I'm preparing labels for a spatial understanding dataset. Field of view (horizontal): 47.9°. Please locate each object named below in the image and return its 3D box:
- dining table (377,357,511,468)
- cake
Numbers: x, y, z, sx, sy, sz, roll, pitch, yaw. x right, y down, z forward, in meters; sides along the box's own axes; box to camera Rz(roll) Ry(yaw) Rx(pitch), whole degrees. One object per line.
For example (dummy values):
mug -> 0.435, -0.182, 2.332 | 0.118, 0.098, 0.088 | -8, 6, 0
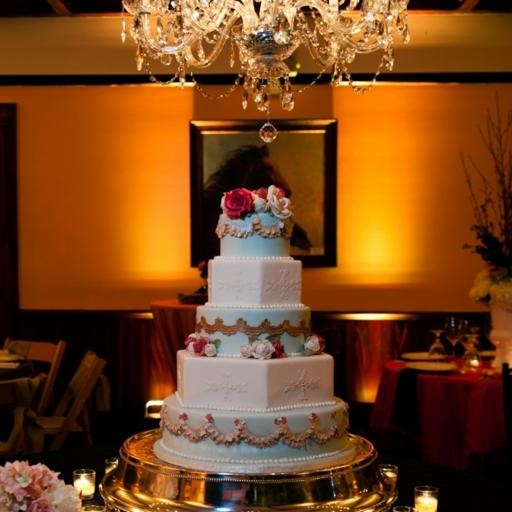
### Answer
dining table -> 1.181, 0.934, 3.543 | 0.537, 0.367, 0.638 | -1, -6, 4
cake -> -0.018, 0.227, 2.040 | 0.704, 0.967, 0.627 | 2, 2, 10
